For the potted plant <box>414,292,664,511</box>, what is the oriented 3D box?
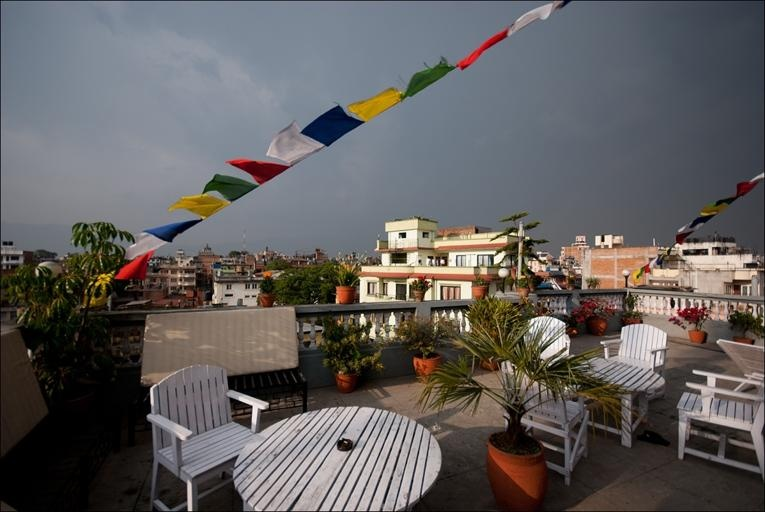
[{"bbox_3d":[2.062,2.112,7.988,3.071,2.642,3.431,0,-2,-30],"label":"potted plant"}]
